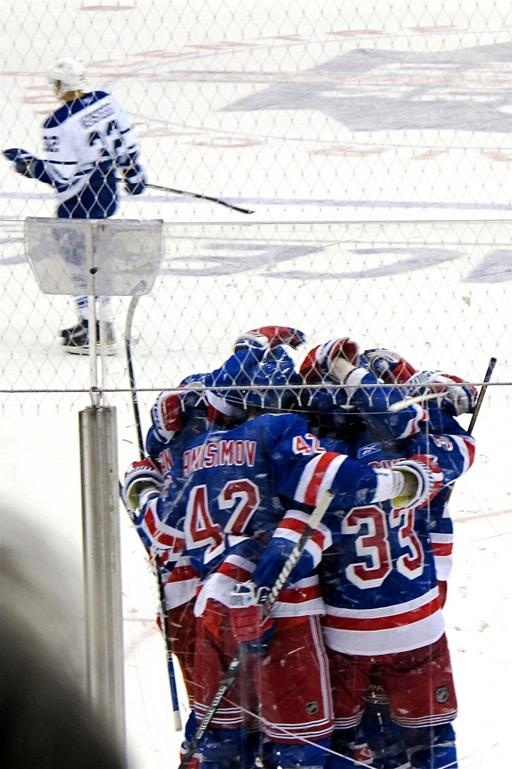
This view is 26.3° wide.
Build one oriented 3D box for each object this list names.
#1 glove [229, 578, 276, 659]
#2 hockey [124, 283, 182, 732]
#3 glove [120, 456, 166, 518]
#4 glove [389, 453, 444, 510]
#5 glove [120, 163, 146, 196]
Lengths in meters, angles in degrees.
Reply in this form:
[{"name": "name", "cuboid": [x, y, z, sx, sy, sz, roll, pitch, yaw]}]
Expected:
[{"name": "glove", "cuboid": [-0.012, 0.518, 2.422, 0.089, 0.161, 0.104, -5, -17, -2]}, {"name": "hockey", "cuboid": [-0.246, 0.311, 2.574, 0.049, 0.805, 0.306, -6, 2, 13]}, {"name": "glove", "cuboid": [-0.274, 0.244, 2.565, 0.131, 0.130, 0.145, 12, -1, 3]}, {"name": "glove", "cuboid": [0.366, 0.218, 2.468, 0.140, 0.088, 0.050, -29, -6, 35]}, {"name": "glove", "cuboid": [-0.315, -0.525, 2.807, 0.031, 0.068, 0.085, 3, 14, 40]}]
